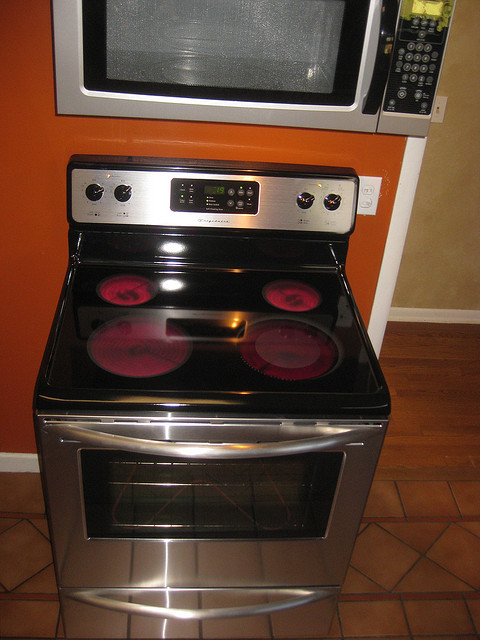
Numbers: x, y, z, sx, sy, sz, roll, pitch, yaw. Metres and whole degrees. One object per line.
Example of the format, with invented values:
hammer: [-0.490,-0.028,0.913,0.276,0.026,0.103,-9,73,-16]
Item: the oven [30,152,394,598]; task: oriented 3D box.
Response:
oven: [-0.082,0.200,1.401,0.805,0.994,0.702,5,36,0]
